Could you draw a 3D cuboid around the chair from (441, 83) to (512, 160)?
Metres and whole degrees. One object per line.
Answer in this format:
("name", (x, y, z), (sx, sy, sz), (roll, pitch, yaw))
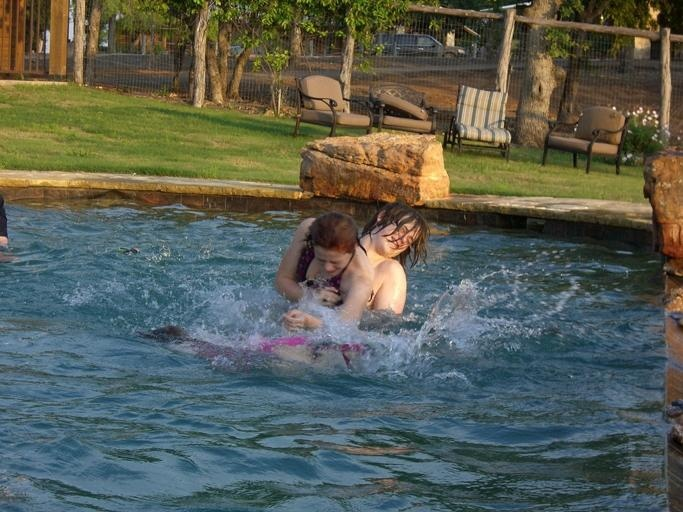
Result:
("chair", (2.622, -2.530, 23.416), (1.090, 1.289, 1.453), (8, 12, 0))

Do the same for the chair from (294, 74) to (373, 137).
("chair", (-0.116, -2.745, 23.284), (1.279, 1.205, 1.038), (15, 12, 41))

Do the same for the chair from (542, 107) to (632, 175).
("chair", (4.433, -2.158, 22.613), (1.052, 1.135, 1.273), (0, 11, -26))

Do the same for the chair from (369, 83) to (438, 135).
("chair", (1.103, -2.812, 23.617), (1.229, 0.913, 1.221), (4, 19, -24))
